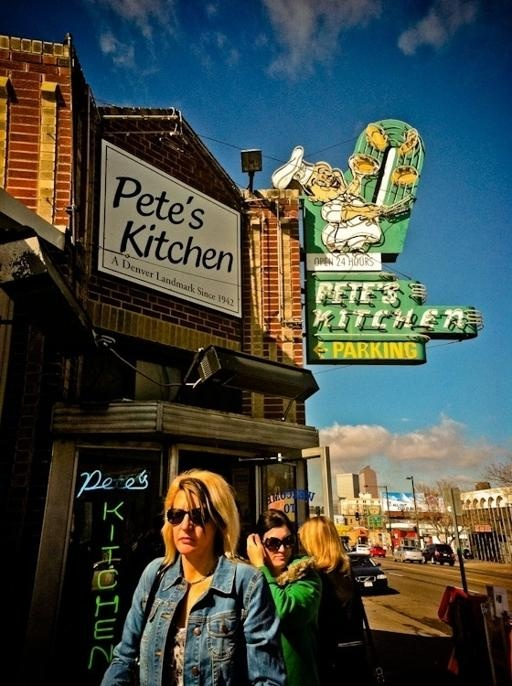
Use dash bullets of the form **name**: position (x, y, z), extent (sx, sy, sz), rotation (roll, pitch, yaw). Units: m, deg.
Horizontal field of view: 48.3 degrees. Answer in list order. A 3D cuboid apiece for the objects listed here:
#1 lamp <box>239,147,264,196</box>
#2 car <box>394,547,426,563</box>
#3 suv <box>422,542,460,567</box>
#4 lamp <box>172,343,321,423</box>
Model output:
- **lamp**: position (-0.096, -3.128, 10.672), extent (0.567, 0.731, 0.559), rotation (2, -4, -41)
- **car**: position (11.204, 15.764, 42.151), extent (1.054, 0.713, 2.485), rotation (-1, -12, -3)
- **suv**: position (12.980, 14.872, 40.258), extent (1.678, 1.410, 2.945), rotation (2, -12, -3)
- **lamp**: position (-0.040, 0.479, 7.748), extent (1.847, 0.430, 0.758), rotation (17, -34, -41)
